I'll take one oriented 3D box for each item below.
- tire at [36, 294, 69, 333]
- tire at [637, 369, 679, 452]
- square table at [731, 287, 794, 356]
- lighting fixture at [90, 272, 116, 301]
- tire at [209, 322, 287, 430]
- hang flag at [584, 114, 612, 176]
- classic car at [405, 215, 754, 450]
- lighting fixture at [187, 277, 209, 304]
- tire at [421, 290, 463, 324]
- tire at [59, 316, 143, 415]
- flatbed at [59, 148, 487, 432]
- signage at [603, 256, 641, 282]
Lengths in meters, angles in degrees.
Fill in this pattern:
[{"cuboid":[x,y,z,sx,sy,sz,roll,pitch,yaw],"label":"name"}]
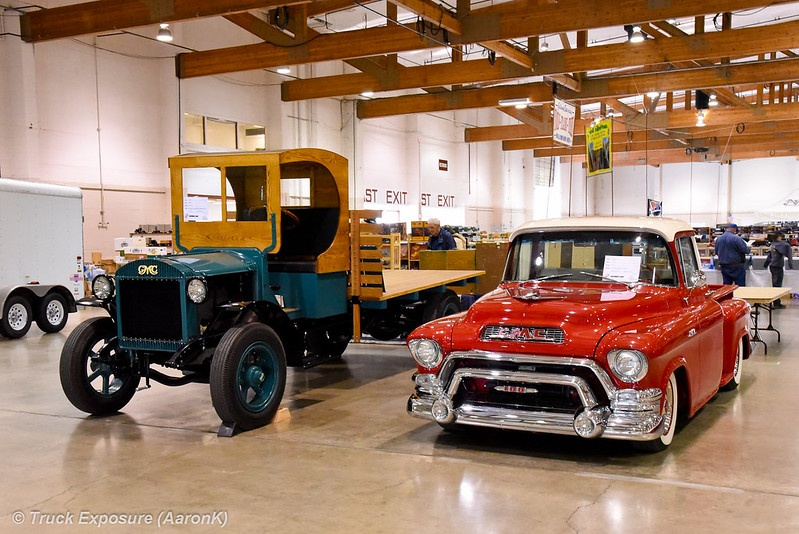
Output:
[{"cuboid":[-7.648,1.000,12.310,0.293,0.950,0.881,0,-3,21],"label":"tire"},{"cuboid":[2.347,1.306,5.122,0.240,0.698,0.733,0,-21,27],"label":"tire"},{"cuboid":[7.205,1.098,11.280,0.901,0.756,1.628,-3,0,38],"label":"square table"},{"cuboid":[-3.437,0.228,6.457,0.341,0.312,0.157,1,6,22],"label":"lighting fixture"},{"cuboid":[-1.662,1.186,6.099,0.362,1.091,1.002,1,14,33],"label":"tire"},{"cuboid":[4.064,-2.462,11.436,0.364,1.157,1.166,0,5,10],"label":"hang flag"},{"cuboid":[2.381,0.524,6.364,2.038,1.443,3.571,-1,-1,31],"label":"classic car"},{"cuboid":[-2.194,0.252,6.070,0.315,0.333,0.068,2,-5,-19],"label":"lighting fixture"},{"cuboid":[0.580,0.587,8.196,0.192,0.506,0.536,0,3,35],"label":"tire"},{"cuboid":[-3.488,1.195,6.600,0.350,1.009,0.928,2,-25,23],"label":"tire"},{"cuboid":[-1.329,-0.011,8.867,3.155,3.004,6.923,0,5,29],"label":"flatbed"},{"cuboid":[2.388,0.030,5.975,0.318,0.264,0.033,0,-27,19],"label":"signage"}]
